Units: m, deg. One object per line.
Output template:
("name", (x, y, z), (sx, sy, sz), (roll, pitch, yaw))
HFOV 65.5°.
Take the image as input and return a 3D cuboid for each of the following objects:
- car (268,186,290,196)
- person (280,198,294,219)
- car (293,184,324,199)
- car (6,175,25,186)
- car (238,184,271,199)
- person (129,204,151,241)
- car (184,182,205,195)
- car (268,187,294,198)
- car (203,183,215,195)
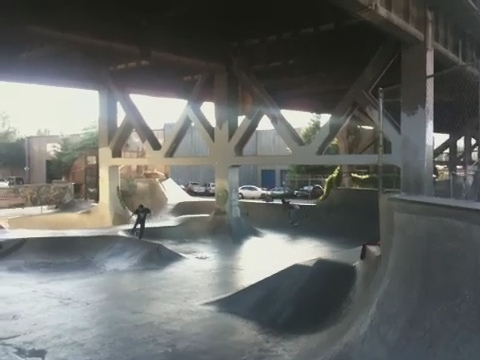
("car", (4.471, 1.151, 41.313), (1.714, 0.699, 1.123), (2, -3, -8))
("person", (2.874, 1.698, 22.735), (0.547, 0.794, 1.390), (-7, -40, 21))
("car", (7.710, 1.264, 40.853), (2.272, 0.845, 1.664), (3, 3, 26))
("car", (-29.215, 0.071, 48.308), (1.993, 1.153, 1.171), (7, 6, 32))
("car", (1.276, 1.345, 41.760), (2.874, 1.592, 1.558), (-2, -2, 22))
("person", (-5.139, 2.175, 18.973), (0.953, 0.557, 1.594), (21, -43, -10))
("car", (-5.932, 1.092, 48.125), (2.490, 1.490, 1.463), (3, 4, -8))
("car", (4.511, 1.345, 40.652), (2.160, 0.784, 1.310), (5, -7, -44))
("car", (-3.940, 1.184, 47.845), (1.669, 1.435, 0.797), (6, 6, 44))
